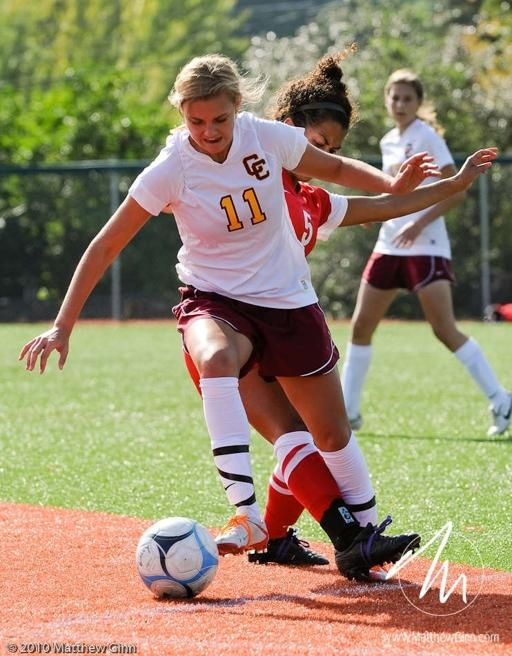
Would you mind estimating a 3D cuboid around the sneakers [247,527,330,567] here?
[{"bbox_3d":[0.107,0.733,2.644,0.288,0.101,0.096,0,-3,-1],"label":"sneakers"}]

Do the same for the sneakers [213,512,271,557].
[{"bbox_3d":[-0.037,0.570,2.193,0.077,0.096,0.224,-17,-14,35],"label":"sneakers"}]

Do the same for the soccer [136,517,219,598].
[{"bbox_3d":[-0.221,0.639,2.184,0.228,0.211,0.212,-19,-18,17],"label":"soccer"}]

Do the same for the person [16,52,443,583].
[{"bbox_3d":[-0.037,-0.013,2.381,1.227,1.482,1.028,1,-8,-29],"label":"person"}]
